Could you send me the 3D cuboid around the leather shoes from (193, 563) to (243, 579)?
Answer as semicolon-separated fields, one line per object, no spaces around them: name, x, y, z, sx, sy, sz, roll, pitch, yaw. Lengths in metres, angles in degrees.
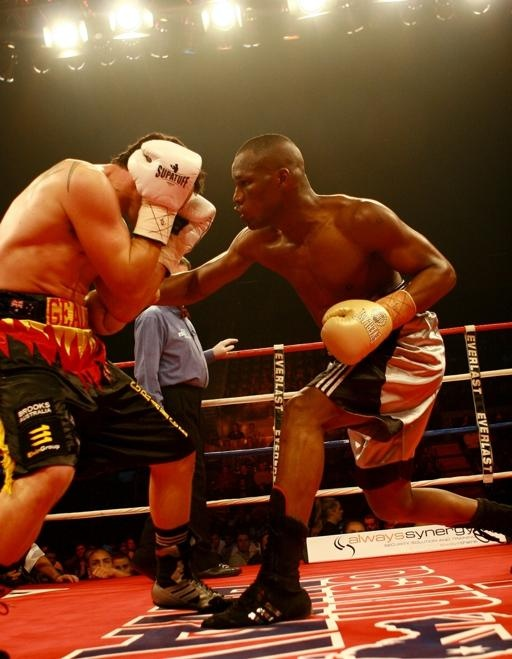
leather shoes;-0.170;1.085;2.678;0.198;0.064;0.056;3;80;-14

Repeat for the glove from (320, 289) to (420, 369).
glove;0.306;-0.007;1.620;0.158;0.099;0.280;33;31;28

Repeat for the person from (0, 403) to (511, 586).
person;-0.040;0.829;2.787;2.638;0.354;0.487;-5;66;-9

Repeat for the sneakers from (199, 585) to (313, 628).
sneakers;0.012;0.668;1.446;0.307;0.087;0.101;-2;69;-3
